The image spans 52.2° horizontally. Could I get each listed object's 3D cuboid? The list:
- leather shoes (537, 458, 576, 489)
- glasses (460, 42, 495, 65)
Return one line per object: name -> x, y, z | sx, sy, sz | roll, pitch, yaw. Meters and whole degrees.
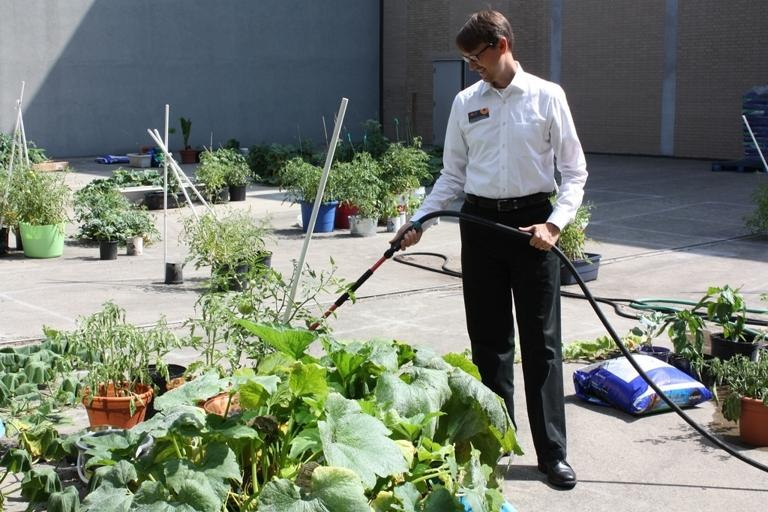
leather shoes -> 0.978, 1.240, 4.530 | 0.107, 0.128, 0.236 | -4, 7, -32
glasses -> 0.535, -1.124, 4.312 | 0.113, 0.035, 0.108 | -37, 15, -19
